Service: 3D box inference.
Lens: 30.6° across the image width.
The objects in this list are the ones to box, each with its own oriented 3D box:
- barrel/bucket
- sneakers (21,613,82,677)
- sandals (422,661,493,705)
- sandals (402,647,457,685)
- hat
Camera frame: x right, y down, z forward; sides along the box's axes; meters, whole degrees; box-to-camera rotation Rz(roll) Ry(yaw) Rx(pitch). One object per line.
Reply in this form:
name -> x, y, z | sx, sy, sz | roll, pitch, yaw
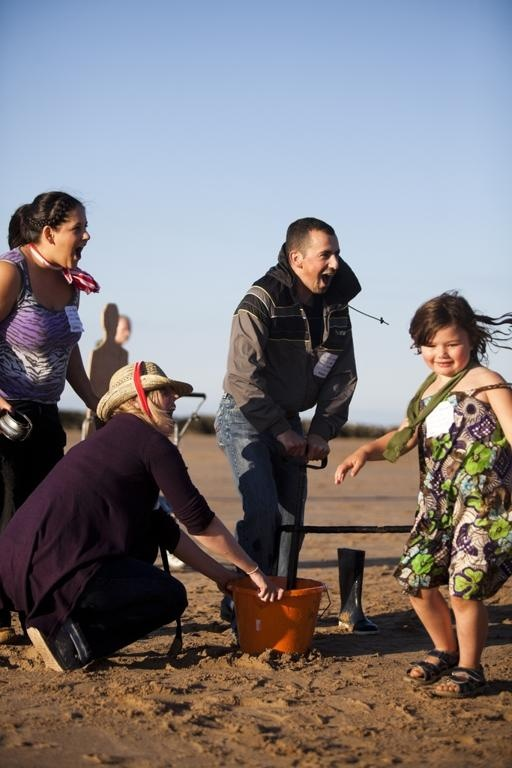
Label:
barrel/bucket -> 0.091, 1.002, 4.113 | 0.405, 0.232, 0.360 | 1, -11, -5
sneakers -> -0.761, 1.058, 3.781 | 0.166, 0.285, 0.087 | -44, 0, 21
sandals -> 0.804, 1.175, 3.710 | 0.232, 0.110, 0.193 | 3, -2, 10
sandals -> 0.727, 1.176, 3.901 | 0.264, 0.087, 0.093 | 2, -6, -40
hat -> -0.478, 0.014, 3.975 | 0.435, 0.152, 0.341 | -20, -5, 23
